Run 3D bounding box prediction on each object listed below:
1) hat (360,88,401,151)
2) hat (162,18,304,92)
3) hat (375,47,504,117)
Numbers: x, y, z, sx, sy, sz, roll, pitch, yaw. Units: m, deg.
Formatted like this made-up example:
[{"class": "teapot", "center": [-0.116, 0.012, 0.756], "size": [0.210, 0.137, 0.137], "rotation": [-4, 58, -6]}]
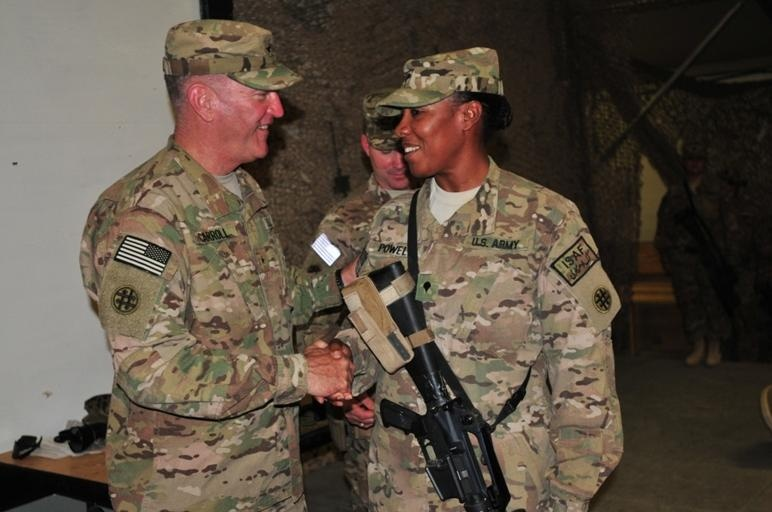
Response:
[{"class": "hat", "center": [-0.057, -0.793, 5.136], "size": [0.254, 0.359, 0.221], "rotation": [-9, 13, -13]}, {"class": "hat", "center": [-0.762, -0.973, 4.233], "size": [0.582, 0.224, 0.366], "rotation": [2, 11, -5]}, {"class": "hat", "center": [0.264, -0.827, 4.187], "size": [0.485, 0.185, 0.343], "rotation": [-6, 6, -3]}]
